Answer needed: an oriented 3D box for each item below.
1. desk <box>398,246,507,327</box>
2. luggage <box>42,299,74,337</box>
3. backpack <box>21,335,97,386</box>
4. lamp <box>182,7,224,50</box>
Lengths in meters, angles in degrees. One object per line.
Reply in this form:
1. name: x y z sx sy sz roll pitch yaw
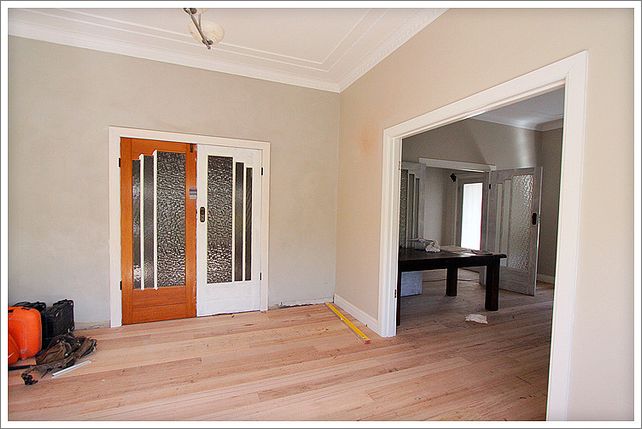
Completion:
1. desk: 1.630 0.920 5.722 1.856 0.843 0.590 -2 4 -26
2. luggage: -2.915 1.151 4.750 0.171 0.365 0.419 0 3 -3
3. backpack: -2.683 1.455 4.436 0.700 0.330 0.413 -3 4 -36
4. lamp: -1.201 -1.797 4.185 0.308 0.380 0.358 3 5 41
